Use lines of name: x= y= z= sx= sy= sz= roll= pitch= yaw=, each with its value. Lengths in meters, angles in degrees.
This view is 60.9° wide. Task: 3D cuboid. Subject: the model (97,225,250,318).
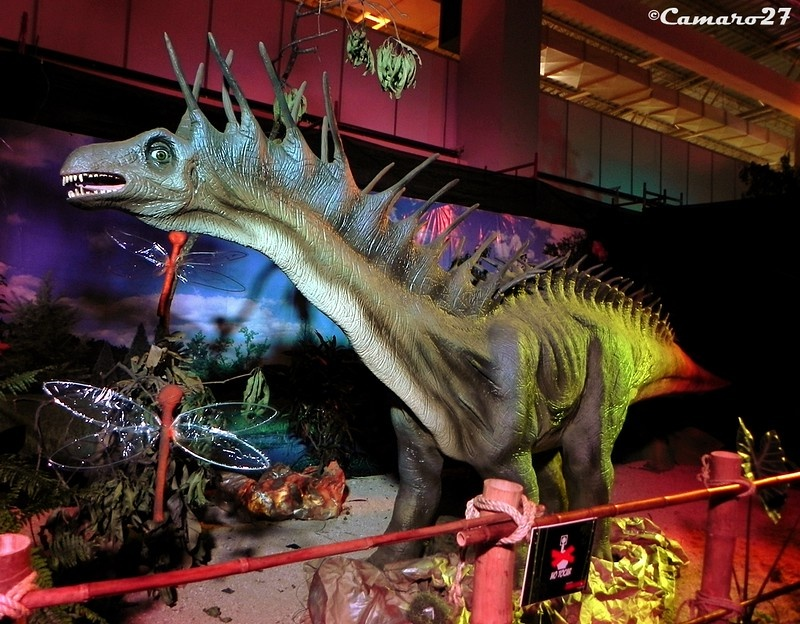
model: x=-1.599 y=-0.296 z=5.047 sx=0.995 sy=0.536 sz=0.576 roll=9 pitch=9 yaw=42

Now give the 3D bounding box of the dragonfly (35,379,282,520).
dragonfly: x=-1.552 y=0.685 z=4.186 sx=1.406 sy=0.978 sz=0.604 roll=-3 pitch=6 yaw=-43

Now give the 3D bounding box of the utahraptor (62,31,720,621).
utahraptor: x=0.177 y=0.044 z=3.632 sx=3.675 sy=2.243 sz=0.733 roll=8 pitch=4 yaw=-28
